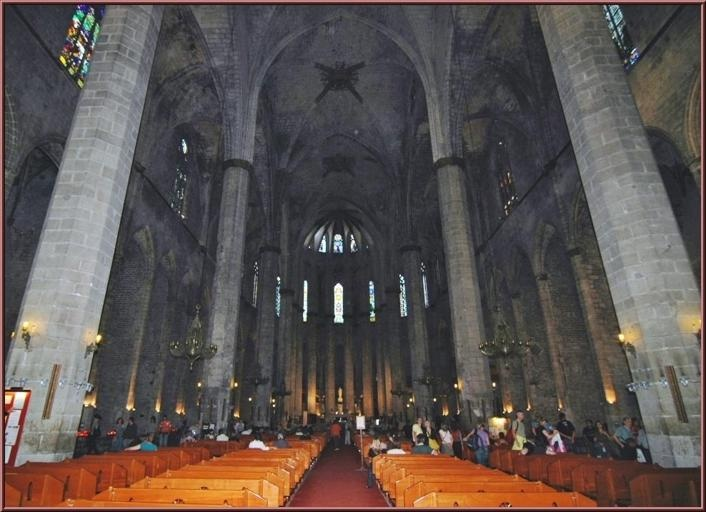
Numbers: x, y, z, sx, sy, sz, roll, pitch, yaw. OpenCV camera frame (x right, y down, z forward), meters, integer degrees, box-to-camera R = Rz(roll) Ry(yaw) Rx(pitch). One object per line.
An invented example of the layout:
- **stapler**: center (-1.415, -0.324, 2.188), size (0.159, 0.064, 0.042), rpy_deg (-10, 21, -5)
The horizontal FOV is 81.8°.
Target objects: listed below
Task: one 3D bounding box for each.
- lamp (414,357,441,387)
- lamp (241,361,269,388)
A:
- **lamp**: center (4.044, 6.649, 22.967), size (1.316, 1.462, 2.714), rpy_deg (-6, -22, 8)
- **lamp**: center (-5.294, 6.357, 22.424), size (1.120, 1.247, 1.225), rpy_deg (-5, -22, 7)
